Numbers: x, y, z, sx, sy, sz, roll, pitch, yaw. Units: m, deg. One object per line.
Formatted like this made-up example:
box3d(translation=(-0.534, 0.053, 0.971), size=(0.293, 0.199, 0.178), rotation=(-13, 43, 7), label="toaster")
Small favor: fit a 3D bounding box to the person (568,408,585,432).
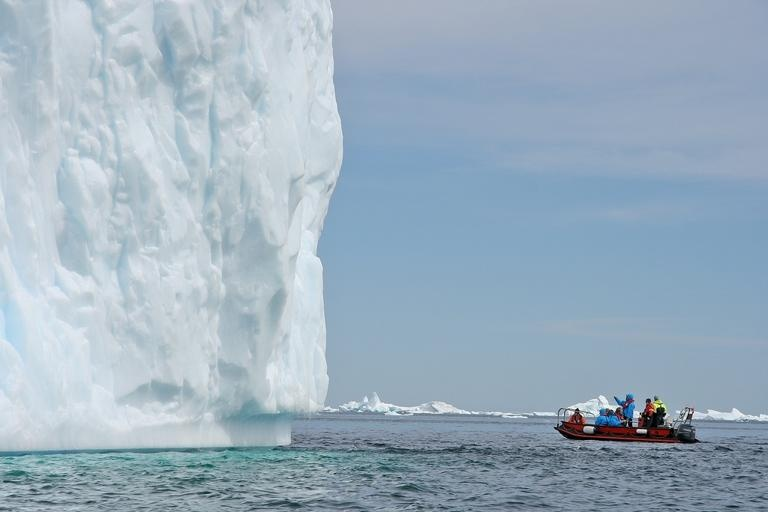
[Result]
box3d(translation=(9.468, 8.009, 73.960), size=(0.819, 1.025, 1.121), rotation=(7, -2, -7), label="person")
